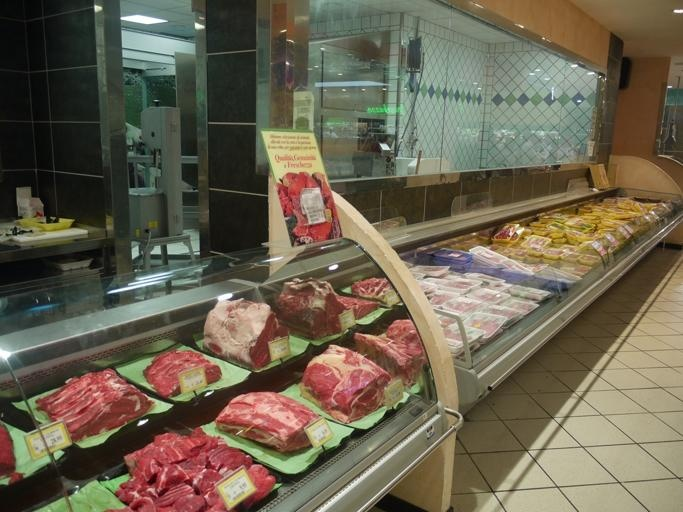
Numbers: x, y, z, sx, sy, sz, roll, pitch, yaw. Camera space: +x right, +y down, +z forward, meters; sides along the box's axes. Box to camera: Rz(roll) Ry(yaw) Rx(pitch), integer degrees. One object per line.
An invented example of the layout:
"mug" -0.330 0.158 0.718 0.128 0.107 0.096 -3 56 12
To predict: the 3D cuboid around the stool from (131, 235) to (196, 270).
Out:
"stool" -1.741 -0.024 4.585 0.626 0.324 0.612 -4 7 19
